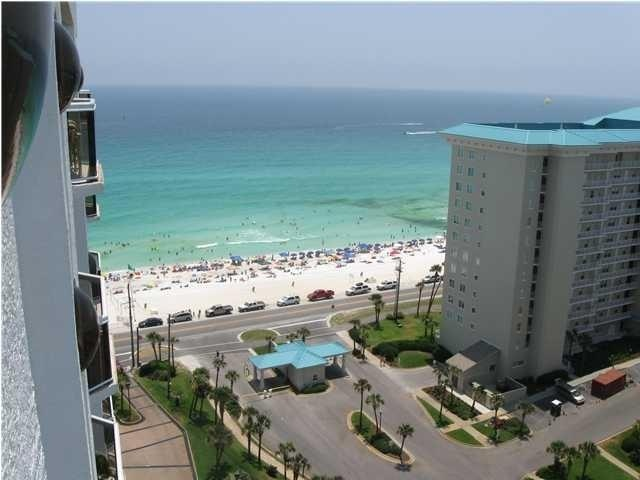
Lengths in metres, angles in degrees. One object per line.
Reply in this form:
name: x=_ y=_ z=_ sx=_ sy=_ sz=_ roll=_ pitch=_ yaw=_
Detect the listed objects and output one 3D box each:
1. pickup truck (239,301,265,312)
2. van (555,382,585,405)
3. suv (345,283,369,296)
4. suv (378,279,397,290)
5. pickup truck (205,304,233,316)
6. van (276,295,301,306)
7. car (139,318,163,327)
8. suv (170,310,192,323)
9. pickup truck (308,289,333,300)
pickup truck: x=-10.945 y=10.639 z=83.469 sx=3.527 sy=0.923 sz=1.692 roll=0 pitch=8 yaw=-16
van: x=26.439 y=16.343 z=55.377 sx=1.587 sy=1.371 sz=2.680 roll=-8 pitch=12 yaw=-23
suv: x=6.570 y=8.649 z=90.881 sx=3.678 sy=1.372 sz=1.849 roll=-2 pitch=7 yaw=-17
suv: x=11.942 y=8.219 z=93.517 sx=3.787 sy=1.039 sz=1.408 roll=-2 pitch=7 yaw=-26
pickup truck: x=-15.708 y=10.996 z=81.199 sx=3.869 sy=1.155 sz=1.636 roll=0 pitch=6 yaw=-16
van: x=-5.271 y=10.070 z=86.039 sx=3.382 sy=1.156 sz=1.589 roll=0 pitch=7 yaw=-11
car: x=-24.911 y=12.077 z=76.219 sx=2.632 sy=0.600 sz=1.488 roll=-4 pitch=12 yaw=-22
suv: x=-20.778 y=11.471 z=78.036 sx=3.160 sy=1.163 sz=1.606 roll=-1 pitch=7 yaw=-20
pickup truck: x=0.094 y=9.420 z=88.759 sx=3.970 sy=1.099 sz=1.680 roll=-1 pitch=4 yaw=-23
